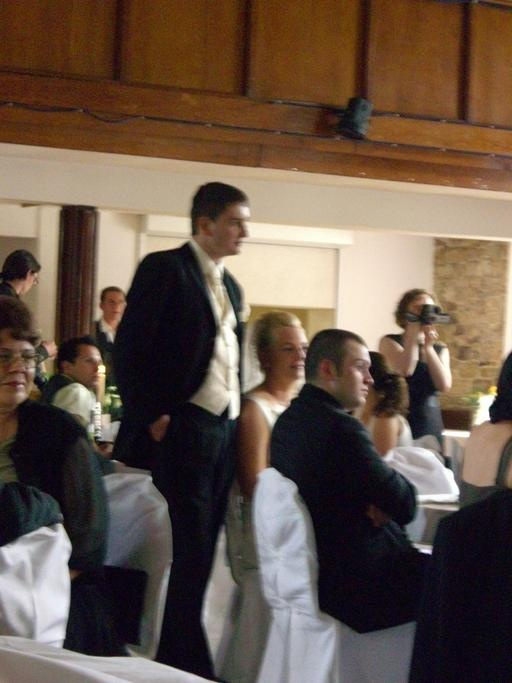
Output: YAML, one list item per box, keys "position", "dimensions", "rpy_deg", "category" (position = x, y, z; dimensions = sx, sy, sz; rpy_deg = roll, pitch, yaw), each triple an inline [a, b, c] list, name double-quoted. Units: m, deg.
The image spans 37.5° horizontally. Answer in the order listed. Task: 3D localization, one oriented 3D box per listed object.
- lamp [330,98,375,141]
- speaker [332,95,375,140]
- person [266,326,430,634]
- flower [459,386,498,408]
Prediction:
- position: [0.313, -0.722, 2.450]
  dimensions: [0.124, 0.111, 0.104]
  rpy_deg: [13, 2, 32]
  category: "lamp"
- position: [0.316, -0.727, 2.450]
  dimensions: [0.108, 0.107, 0.120]
  rpy_deg: [12, 3, -37]
  category: "speaker"
- position: [0.261, 0.380, 1.953]
  dimensions: [0.535, 0.754, 0.382]
  rpy_deg: [7, -8, -5]
  category: "person"
- position: [0.686, 0.167, 2.312]
  dimensions: [0.087, 0.059, 0.023]
  rpy_deg: [-18, -29, 16]
  category: "flower"
